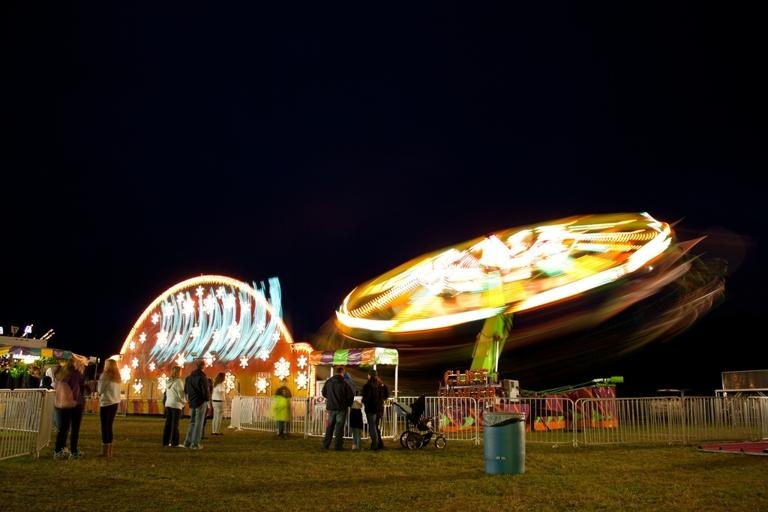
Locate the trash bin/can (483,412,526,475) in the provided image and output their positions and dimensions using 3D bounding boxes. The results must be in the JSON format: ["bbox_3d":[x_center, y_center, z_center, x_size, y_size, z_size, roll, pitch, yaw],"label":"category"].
[{"bbox_3d":[2.406,3.772,11.821,0.782,1.184,0.549,-1,-16,7],"label":"trash bin/can"}]

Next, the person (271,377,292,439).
[{"bbox_3d":[-3.434,5.217,19.752,0.611,1.691,0.976,5,-17,-10],"label":"person"}]

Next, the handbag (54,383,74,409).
[{"bbox_3d":[-6.914,3.055,12.796,0.486,0.547,0.289,-2,-16,-24],"label":"handbag"}]

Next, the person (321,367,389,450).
[{"bbox_3d":[-0.877,4.149,15.985,1.527,2.133,0.847,8,-17,-21],"label":"person"}]
